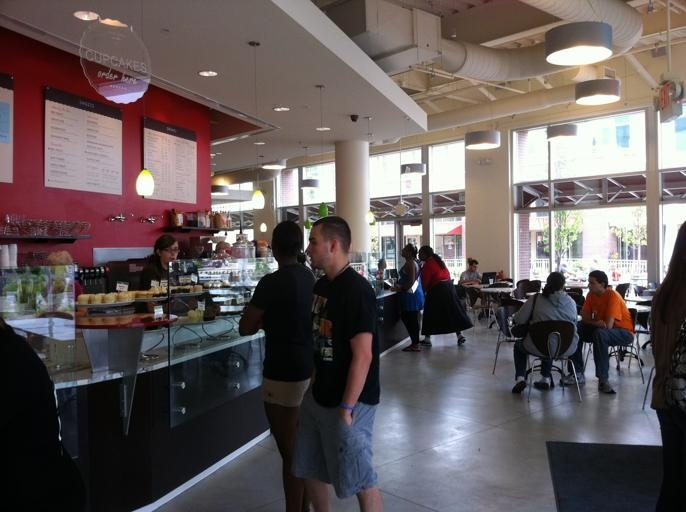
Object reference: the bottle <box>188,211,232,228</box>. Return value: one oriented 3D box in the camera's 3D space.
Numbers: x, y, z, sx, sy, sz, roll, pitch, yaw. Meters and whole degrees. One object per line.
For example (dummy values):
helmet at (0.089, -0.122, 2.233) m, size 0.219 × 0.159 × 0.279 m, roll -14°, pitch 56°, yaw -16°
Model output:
bottle at (-1.853, -0.509, 7.305) m, size 0.269 × 0.252 × 0.744 m, roll 1°, pitch 3°, yaw 32°

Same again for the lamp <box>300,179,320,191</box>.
lamp at (-0.869, -1.867, 13.502) m, size 0.411 × 0.180 × 0.421 m, roll -2°, pitch -2°, yaw 35°

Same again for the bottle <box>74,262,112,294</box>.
bottle at (-2.673, 0.225, 5.607) m, size 0.321 × 0.322 × 0.259 m, roll -1°, pitch 7°, yaw -20°

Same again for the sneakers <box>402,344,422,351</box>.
sneakers at (1.074, 1.410, 8.100) m, size 0.297 × 0.121 × 0.103 m, roll 3°, pitch -3°, yaw 19°

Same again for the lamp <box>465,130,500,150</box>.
lamp at (2.700, -2.248, 10.142) m, size 0.588 × 0.235 × 0.600 m, roll -1°, pitch 2°, yaw 11°

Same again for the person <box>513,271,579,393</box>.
person at (2.196, 0.833, 5.733) m, size 0.649 × 1.335 × 0.528 m, roll 0°, pitch 3°, yaw 22°

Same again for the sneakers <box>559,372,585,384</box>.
sneakers at (2.640, 1.404, 6.058) m, size 0.338 × 0.148 × 0.125 m, roll 2°, pitch -5°, yaw -7°

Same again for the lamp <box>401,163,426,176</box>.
lamp at (1.594, -2.008, 11.964) m, size 0.493 × 0.273 × 0.507 m, roll -1°, pitch 3°, yaw 0°

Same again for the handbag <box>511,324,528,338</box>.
handbag at (1.926, 0.822, 5.738) m, size 0.114 × 0.058 × 0.162 m, roll -2°, pitch -17°, yaw 3°

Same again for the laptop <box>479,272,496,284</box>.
laptop at (3.103, 0.461, 11.181) m, size 0.348 × 0.235 × 0.080 m, roll -1°, pitch -3°, yaw -31°

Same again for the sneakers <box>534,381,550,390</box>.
sneakers at (2.232, 1.454, 5.902) m, size 0.080 × 0.061 × 0.152 m, roll -1°, pitch 2°, yaw -15°

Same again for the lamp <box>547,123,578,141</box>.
lamp at (4.225, -2.440, 10.188) m, size 0.362 × 0.279 × 0.489 m, roll -3°, pitch 3°, yaw -35°

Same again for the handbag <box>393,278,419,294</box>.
handbag at (1.027, 0.464, 8.206) m, size 0.271 × 0.144 × 0.225 m, roll -2°, pitch 4°, yaw -3°

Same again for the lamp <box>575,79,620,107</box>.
lamp at (3.548, -2.285, 7.302) m, size 0.495 × 0.203 × 0.508 m, roll -4°, pitch -8°, yaw 36°

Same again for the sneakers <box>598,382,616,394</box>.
sneakers at (2.892, 1.432, 5.729) m, size 0.183 × 0.105 × 0.196 m, roll 0°, pitch 3°, yaw 14°

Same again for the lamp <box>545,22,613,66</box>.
lamp at (2.391, -2.167, 5.314) m, size 0.530 × 0.215 × 0.543 m, roll -4°, pitch -8°, yaw 32°

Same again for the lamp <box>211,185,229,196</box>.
lamp at (-2.963, -1.593, 12.604) m, size 0.376 × 0.160 × 0.384 m, roll -1°, pitch 0°, yaw 11°

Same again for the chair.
chair at (2.398, 0.905, 6.207) m, size 1.436 × 0.808 × 1.510 m, roll 0°, pitch -4°, yaw 8°
